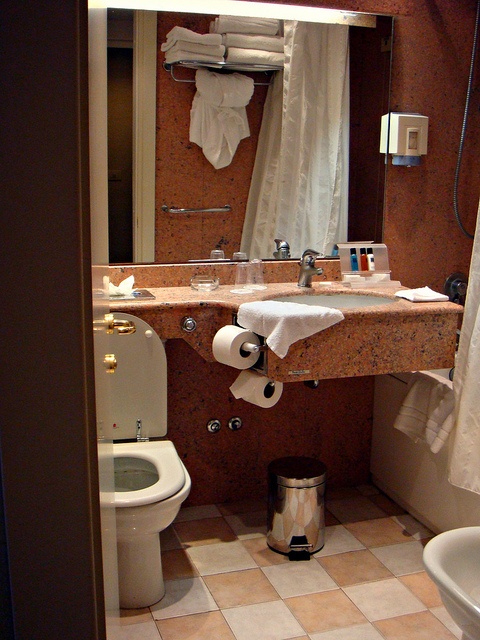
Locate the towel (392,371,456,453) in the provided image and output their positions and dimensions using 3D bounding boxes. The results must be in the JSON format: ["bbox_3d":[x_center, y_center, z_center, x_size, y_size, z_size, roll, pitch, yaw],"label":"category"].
[{"bbox_3d":[0.662,0.310,1.908,0.184,0.271,0.233,1,15,-9],"label":"towel"}]

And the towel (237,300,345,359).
[{"bbox_3d":[0.141,0.002,1.587,0.345,0.152,0.378,5,5,37],"label":"towel"}]

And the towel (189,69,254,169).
[{"bbox_3d":[-0.044,-0.709,1.970,0.221,0.346,0.094,-5,18,-24],"label":"towel"}]

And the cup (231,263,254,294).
[{"bbox_3d":[0.021,-0.157,2.011,0.098,0.107,0.101,3,9,-1],"label":"cup"}]

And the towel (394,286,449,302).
[{"bbox_3d":[0.628,-0.098,1.959,0.131,0.042,0.220,-3,9,-20],"label":"towel"}]

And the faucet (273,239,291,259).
[{"bbox_3d":[0.174,-0.282,2.180,0.059,0.066,0.075,-8,11,-41],"label":"faucet"}]

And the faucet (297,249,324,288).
[{"bbox_3d":[0.272,-0.202,2.115,0.086,0.141,0.232,1,9,6],"label":"faucet"}]

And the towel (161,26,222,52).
[{"bbox_3d":[-0.169,-0.989,1.927,0.220,0.089,0.008,-2,10,-15],"label":"towel"}]
